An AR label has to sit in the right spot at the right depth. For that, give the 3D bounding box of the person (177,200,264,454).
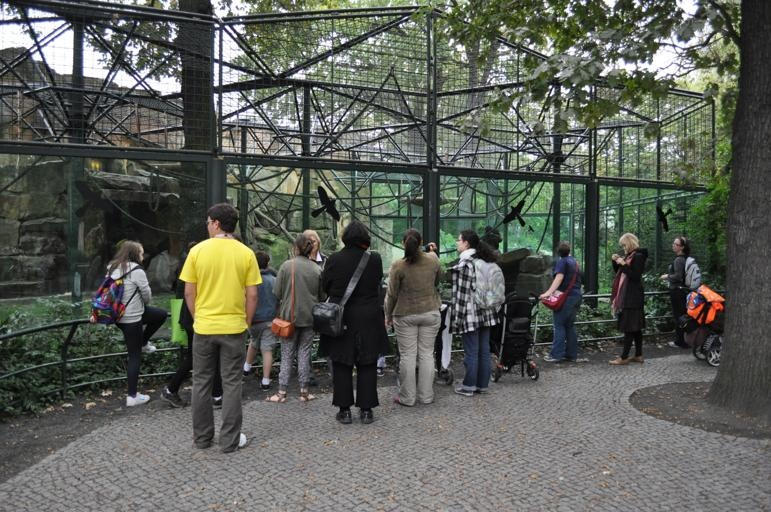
[{"bbox_3d":[-2.376,1.023,10.303,0.996,3.390,1.101,10,17,38],"label":"person"}]

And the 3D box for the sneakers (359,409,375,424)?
[{"bbox_3d":[-0.293,2.501,11.077,0.130,0.133,0.277,0,2,2],"label":"sneakers"}]

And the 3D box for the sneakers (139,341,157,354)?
[{"bbox_3d":[-4.204,1.611,12.522,0.353,0.231,0.167,1,3,-21],"label":"sneakers"}]

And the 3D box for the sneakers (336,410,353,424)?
[{"bbox_3d":[-0.656,2.486,11.103,0.260,0.185,0.261,-1,14,-5],"label":"sneakers"}]

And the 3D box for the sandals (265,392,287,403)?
[{"bbox_3d":[-1.829,2.366,11.961,0.305,0.126,0.163,4,-1,17],"label":"sandals"}]

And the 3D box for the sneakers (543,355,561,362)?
[{"bbox_3d":[3.371,2.064,14.427,0.322,0.153,0.132,7,3,22],"label":"sneakers"}]

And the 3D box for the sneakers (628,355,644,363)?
[{"bbox_3d":[5.008,2.067,14.226,0.345,0.154,0.132,3,7,38],"label":"sneakers"}]

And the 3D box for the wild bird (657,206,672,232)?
[{"bbox_3d":[7.113,-0.959,18.183,0.484,0.686,0.133,-7,15,-28],"label":"wild bird"}]

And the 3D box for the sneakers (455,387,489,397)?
[{"bbox_3d":[1.498,2.293,12.223,0.516,0.214,0.196,3,-4,-2],"label":"sneakers"}]

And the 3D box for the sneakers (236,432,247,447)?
[{"bbox_3d":[-2.094,2.687,10.382,0.126,0.172,0.082,9,-14,-39],"label":"sneakers"}]

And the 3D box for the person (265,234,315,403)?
[{"bbox_3d":[-1.516,1.045,12.019,0.804,2.736,1.009,1,13,3],"label":"person"}]

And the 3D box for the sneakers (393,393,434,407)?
[{"bbox_3d":[0.463,2.358,11.807,0.640,0.267,0.238,0,-3,6],"label":"sneakers"}]

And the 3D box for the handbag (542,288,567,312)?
[{"bbox_3d":[3.414,0.875,14.343,0.211,0.463,0.472,29,5,-21],"label":"handbag"}]

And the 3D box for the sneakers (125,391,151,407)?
[{"bbox_3d":[-4.091,2.362,11.759,0.410,0.193,0.177,-6,7,-31],"label":"sneakers"}]

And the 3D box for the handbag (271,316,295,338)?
[{"bbox_3d":[-1.718,1.200,11.960,0.265,0.367,0.497,4,-3,-44],"label":"handbag"}]

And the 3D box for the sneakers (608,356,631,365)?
[{"bbox_3d":[4.651,2.089,14.159,0.449,0.197,0.169,2,-3,3],"label":"sneakers"}]

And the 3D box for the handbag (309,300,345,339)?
[{"bbox_3d":[-0.863,0.921,11.138,0.725,0.707,0.433,0,-3,30],"label":"handbag"}]

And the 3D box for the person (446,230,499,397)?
[{"bbox_3d":[1.513,1.021,12.264,0.787,2.760,0.900,3,13,12],"label":"person"}]

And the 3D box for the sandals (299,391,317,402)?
[{"bbox_3d":[-1.301,2.361,12.058,0.118,0.150,0.355,1,4,32],"label":"sandals"}]

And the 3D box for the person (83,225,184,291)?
[{"bbox_3d":[-4.768,-0.079,13.956,1.399,1.434,0.505,3,3,-19],"label":"person"}]

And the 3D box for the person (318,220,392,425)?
[{"bbox_3d":[-0.478,1.061,11.142,1.034,3.043,0.943,-1,13,-5],"label":"person"}]
